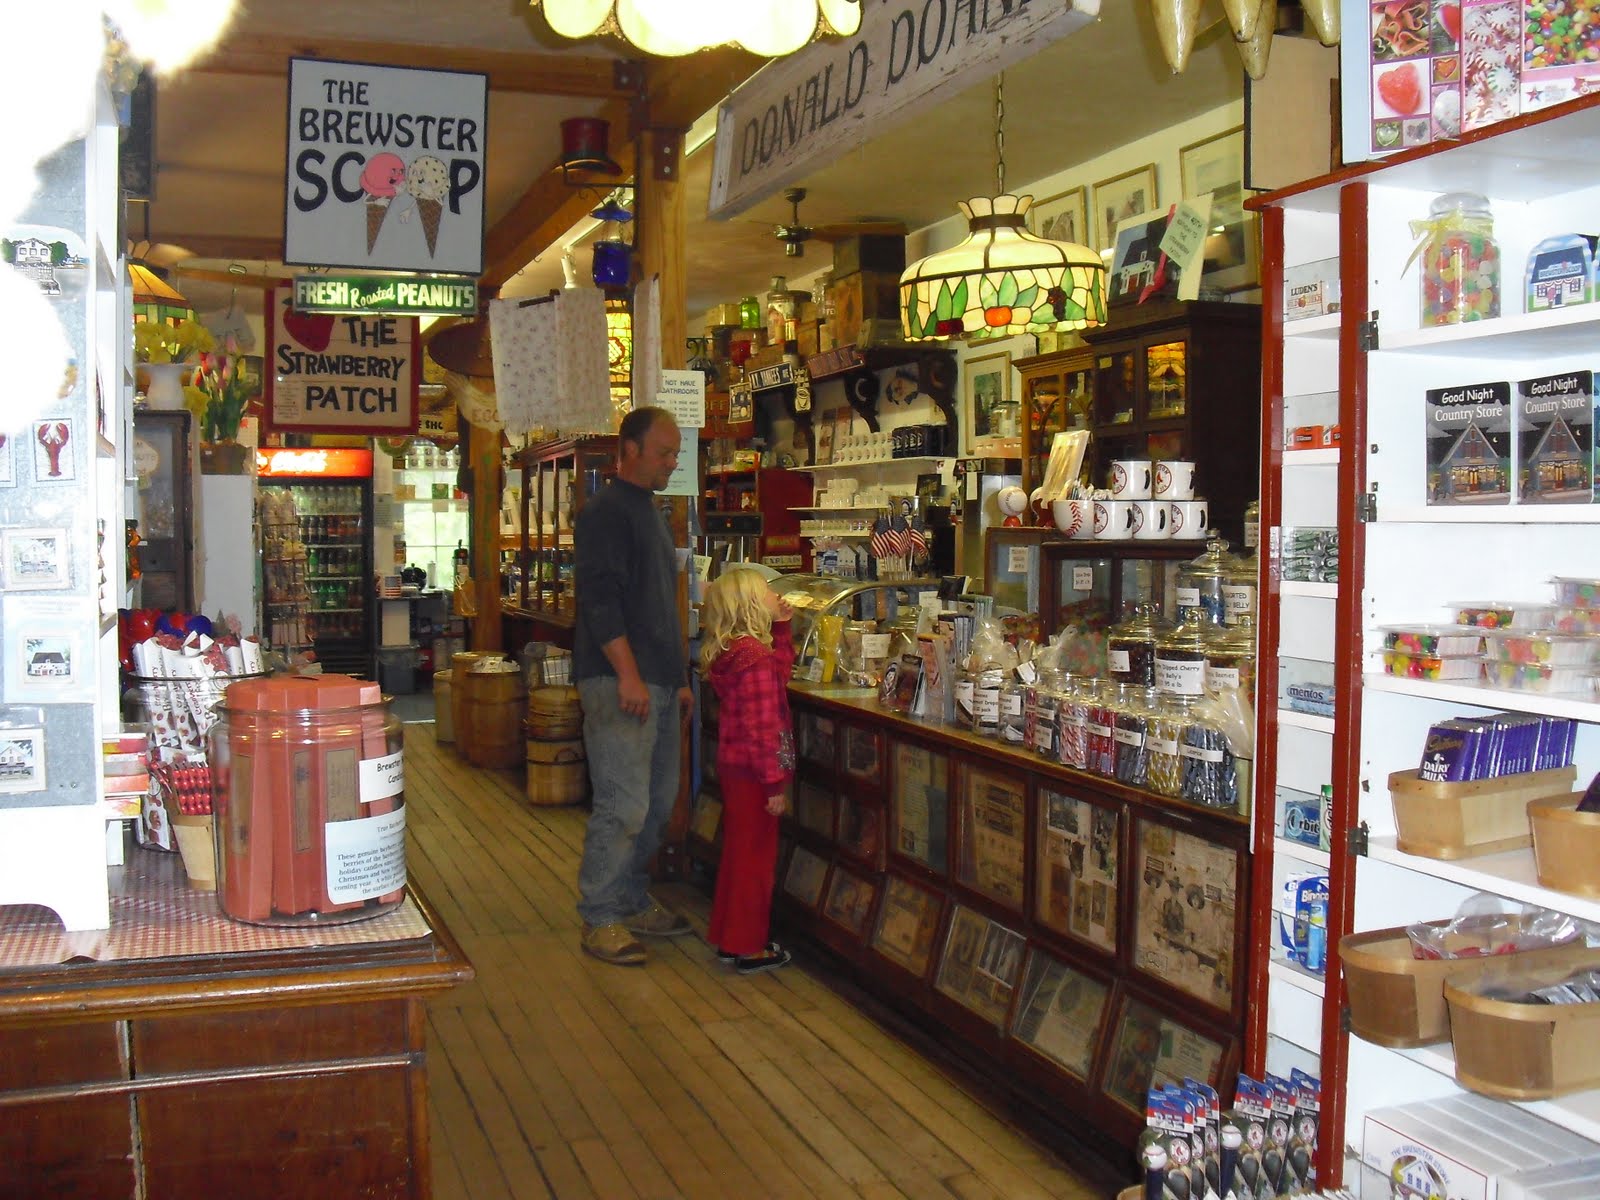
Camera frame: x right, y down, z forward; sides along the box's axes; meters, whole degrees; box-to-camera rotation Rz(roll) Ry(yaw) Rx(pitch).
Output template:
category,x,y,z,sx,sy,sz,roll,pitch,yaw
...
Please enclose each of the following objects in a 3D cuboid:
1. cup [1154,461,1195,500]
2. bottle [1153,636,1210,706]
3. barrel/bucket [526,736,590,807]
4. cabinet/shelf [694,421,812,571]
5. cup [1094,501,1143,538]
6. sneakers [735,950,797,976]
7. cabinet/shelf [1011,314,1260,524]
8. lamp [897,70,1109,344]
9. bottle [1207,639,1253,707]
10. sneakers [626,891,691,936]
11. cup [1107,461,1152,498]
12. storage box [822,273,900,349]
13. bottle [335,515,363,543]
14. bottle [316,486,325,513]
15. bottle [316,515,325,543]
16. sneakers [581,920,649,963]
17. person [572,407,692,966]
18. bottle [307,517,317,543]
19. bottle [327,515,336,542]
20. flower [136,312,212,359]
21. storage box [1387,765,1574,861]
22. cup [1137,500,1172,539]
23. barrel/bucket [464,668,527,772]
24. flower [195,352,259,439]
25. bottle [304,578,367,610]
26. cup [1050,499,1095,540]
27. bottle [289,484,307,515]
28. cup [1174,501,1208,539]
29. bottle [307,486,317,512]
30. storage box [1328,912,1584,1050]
category,x,y,z,sx,sy,sz,roll,pitch,yaw
cup,1.352,-0.433,4.588,0.141,0.118,0.115,-1,2,13
bottle,1.139,0.212,3.790,0.139,0.159,0.144,1,5,9
barrel/bucket,-1.513,1.072,7.940,0.367,0.432,0.383,-1,-1,0
cabinet/shelf,-0.366,-0.921,11.172,0.417,1.366,1.336,1,-2,-19
cup,1.105,-0.277,4.408,0.134,0.111,0.108,3,4,18
sneakers,-0.140,1.474,5.247,0.231,0.115,0.088,-3,8,-24
cabinet/shelf,1.707,-0.906,6.234,0.387,1.221,1.232,-1,2,-17
lamp,0.814,-1.467,5.259,0.643,0.803,0.682,-1,3,-2
bottle,1.267,0.203,3.715,0.145,0.270,0.169,0,4,13
sneakers,-0.624,1.380,5.606,0.272,0.129,0.135,1,6,-15
cup,1.183,-0.425,4.507,0.157,0.133,0.100,-2,5,-14
storage box,0.490,-2.185,9.622,0.390,0.771,0.754,-2,15,-25
bottle,-5.492,-0.846,15.436,0.321,0.262,0.119,0,4,2
bottle,-5.869,-1.214,15.533,0.148,0.304,0.145,0,4,0
bottle,-5.832,-0.865,15.441,0.146,0.262,0.109,-2,4,-21
sneakers,-0.783,1.418,5.347,0.119,0.110,0.258,-3,5,-45
person,-0.695,0.350,5.314,0.478,2.287,0.467,-3,5,-30
bottle,-5.923,-0.854,15.404,0.196,0.318,0.141,-2,4,-22
bottle,-5.698,-0.885,15.462,0.165,0.264,0.088,-2,4,-18
flower,-4.044,-1.680,8.100,0.363,0.244,0.423,-3,7,-1
storage box,1.503,0.450,2.837,0.311,0.133,0.185,-3,3,-21
cup,1.221,-0.277,4.396,0.110,0.128,0.112,0,-1,0
barrel/bucket,-2.157,0.881,9.295,0.590,0.850,0.609,1,-4,0
flower,-3.982,-1.388,8.738,0.327,0.628,0.518,-1,5,-15
bottle,-5.572,-0.079,15.269,0.578,0.384,0.213,-1,4,-11
cup,0.968,-0.284,4.497,0.117,0.109,0.129,0,-1,0
bottle,-6.016,-1.188,15.234,0.173,0.341,0.779,-2,5,-21
cup,1.376,-0.277,4.435,0.157,0.138,0.088,-5,6,-45
bottle,-5.991,-1.223,15.524,0.184,0.323,0.117,0,4,-2
storage box,1.464,0.768,2.791,0.457,0.161,0.270,-4,2,-24
